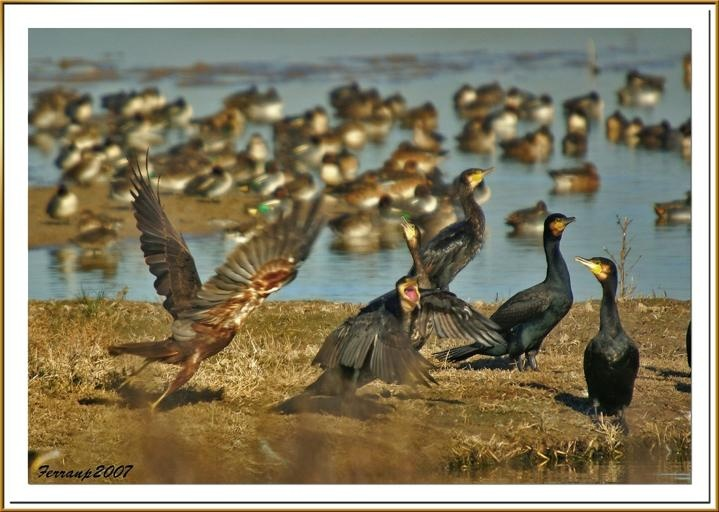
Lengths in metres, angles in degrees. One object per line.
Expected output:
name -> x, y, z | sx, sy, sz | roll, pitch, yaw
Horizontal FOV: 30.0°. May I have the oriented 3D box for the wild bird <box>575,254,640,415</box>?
wild bird -> 3.940, 1.268, 21.224 | 0.841, 2.504, 0.505 | -3, 10, 12
